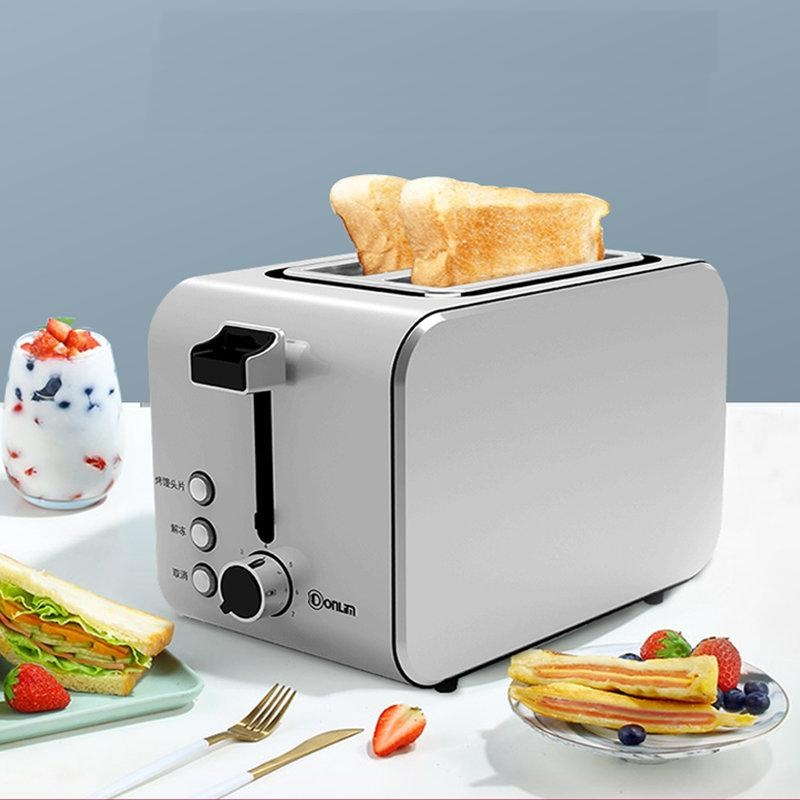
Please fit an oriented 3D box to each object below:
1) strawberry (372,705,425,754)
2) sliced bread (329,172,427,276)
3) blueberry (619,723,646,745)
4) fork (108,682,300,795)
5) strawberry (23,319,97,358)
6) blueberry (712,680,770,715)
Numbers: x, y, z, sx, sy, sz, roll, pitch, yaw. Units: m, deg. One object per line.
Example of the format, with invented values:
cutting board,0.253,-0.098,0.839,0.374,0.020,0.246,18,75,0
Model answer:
strawberry,-0.001,0.188,0.540,0.023,0.042,0.031,20,72,14
sliced bread,-0.026,-0.142,0.777,0.107,0.022,0.073,-8,86,-24
blueberry,0.119,0.170,0.488,0.013,0.011,0.007,-1,89,-6
fork,-0.094,0.184,0.546,0.025,0.148,0.016,7,101,40
strawberry,-0.335,-0.058,0.947,0.057,0.055,0.019,15,112,40
blueberry,0.186,0.161,0.521,0.024,0.020,0.006,2,97,22
